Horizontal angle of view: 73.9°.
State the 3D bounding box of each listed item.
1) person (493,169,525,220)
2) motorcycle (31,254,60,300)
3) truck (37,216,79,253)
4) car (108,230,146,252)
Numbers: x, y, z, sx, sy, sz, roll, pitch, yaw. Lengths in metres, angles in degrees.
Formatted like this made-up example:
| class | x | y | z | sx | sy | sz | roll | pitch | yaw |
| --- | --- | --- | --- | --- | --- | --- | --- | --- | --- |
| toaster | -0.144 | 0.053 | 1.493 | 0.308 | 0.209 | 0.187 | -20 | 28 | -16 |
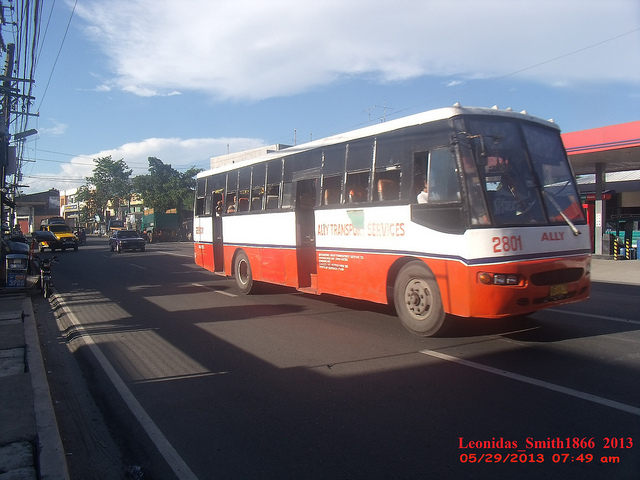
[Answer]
| class | x | y | z | sx | sy | sz | roll | pitch | yaw |
| --- | --- | --- | --- | --- | --- | --- | --- | --- | --- |
| person | 2.954 | -0.733 | 6.765 | 0.295 | 0.780 | 0.648 | 3 | 7 | 39 |
| motorcycle | -8.694 | 1.036 | 13.774 | 0.670 | 1.245 | 1.857 | 1 | 9 | -29 |
| truck | -21.771 | -0.185 | 36.084 | 2.464 | 2.292 | 5.725 | -6 | 7 | -31 |
| car | -15.797 | 0.016 | 35.133 | 1.682 | 1.198 | 2.964 | -1 | -2 | -34 |
